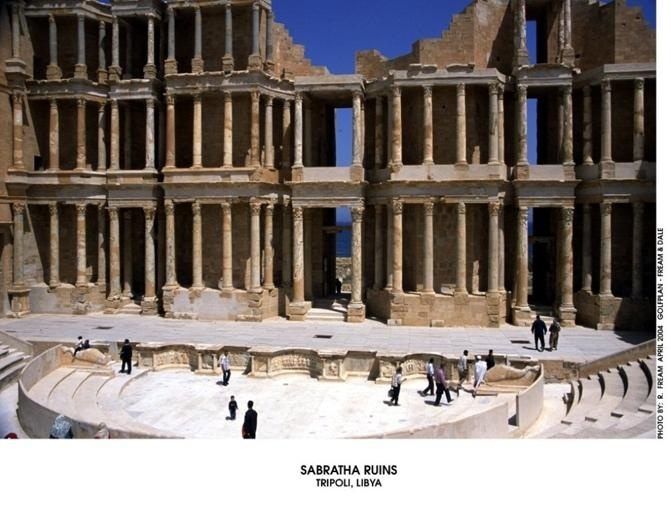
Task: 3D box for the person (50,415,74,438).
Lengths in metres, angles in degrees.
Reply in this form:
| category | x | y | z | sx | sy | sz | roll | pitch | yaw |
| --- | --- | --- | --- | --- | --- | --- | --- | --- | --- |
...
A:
| category | x | y | z | sx | sy | sz | roll | pitch | yaw |
| --- | --- | --- | --- | --- | --- | --- | --- | --- | --- |
| person | -11.070 | 6.970 | 34.879 | 1.001 | 0.800 | 0.989 | 2 | -84 | 6 |
